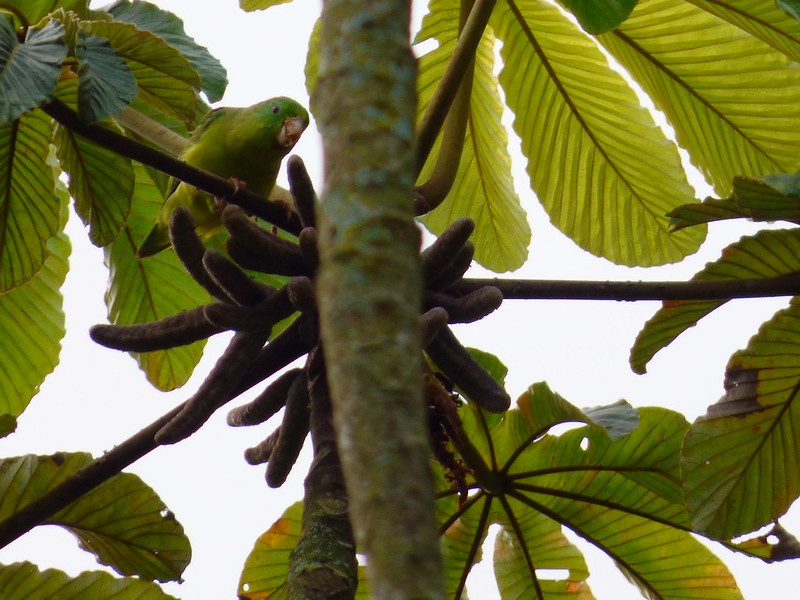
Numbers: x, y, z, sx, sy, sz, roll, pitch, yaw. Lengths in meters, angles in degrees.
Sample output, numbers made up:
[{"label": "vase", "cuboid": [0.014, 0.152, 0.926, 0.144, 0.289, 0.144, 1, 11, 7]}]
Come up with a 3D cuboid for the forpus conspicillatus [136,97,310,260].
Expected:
[{"label": "forpus conspicillatus", "cuboid": [-0.949, -0.661, 5.836, 1.119, 0.672, 0.515, -15, -39, 43]}]
